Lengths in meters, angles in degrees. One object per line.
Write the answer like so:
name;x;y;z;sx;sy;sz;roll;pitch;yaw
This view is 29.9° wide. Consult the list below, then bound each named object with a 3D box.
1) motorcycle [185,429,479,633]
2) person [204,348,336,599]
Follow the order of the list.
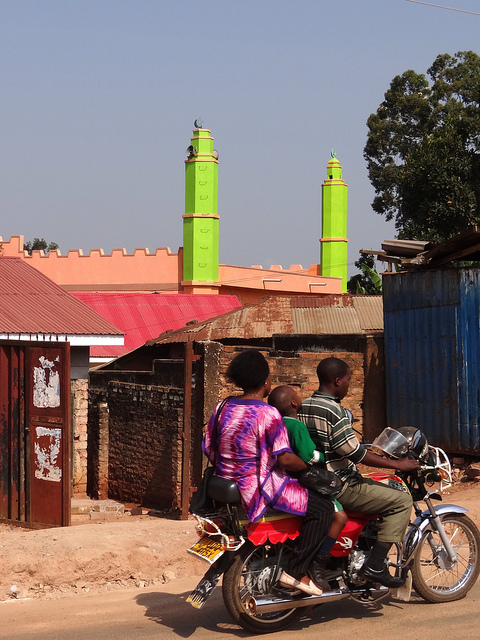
motorcycle;0.568;1.453;5.925;1.883;1.158;1.048;-5;6;-21
person;0.166;0.908;5.231;0.753;0.980;0.325;-4;2;2
